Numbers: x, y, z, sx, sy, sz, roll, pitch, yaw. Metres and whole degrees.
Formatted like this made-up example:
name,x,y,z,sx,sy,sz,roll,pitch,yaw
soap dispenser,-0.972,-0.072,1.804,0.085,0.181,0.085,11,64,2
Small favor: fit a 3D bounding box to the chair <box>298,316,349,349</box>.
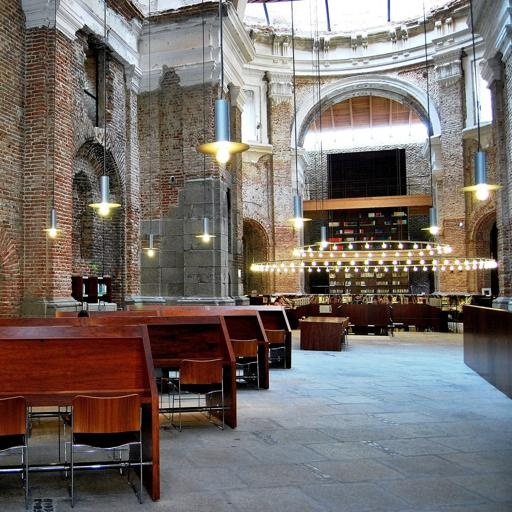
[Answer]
name,x,y,z,sx,sy,sz,roll,pitch,yaw
chair,1.605,1.833,13.426,1.056,0.690,0.992,0,-2,9
